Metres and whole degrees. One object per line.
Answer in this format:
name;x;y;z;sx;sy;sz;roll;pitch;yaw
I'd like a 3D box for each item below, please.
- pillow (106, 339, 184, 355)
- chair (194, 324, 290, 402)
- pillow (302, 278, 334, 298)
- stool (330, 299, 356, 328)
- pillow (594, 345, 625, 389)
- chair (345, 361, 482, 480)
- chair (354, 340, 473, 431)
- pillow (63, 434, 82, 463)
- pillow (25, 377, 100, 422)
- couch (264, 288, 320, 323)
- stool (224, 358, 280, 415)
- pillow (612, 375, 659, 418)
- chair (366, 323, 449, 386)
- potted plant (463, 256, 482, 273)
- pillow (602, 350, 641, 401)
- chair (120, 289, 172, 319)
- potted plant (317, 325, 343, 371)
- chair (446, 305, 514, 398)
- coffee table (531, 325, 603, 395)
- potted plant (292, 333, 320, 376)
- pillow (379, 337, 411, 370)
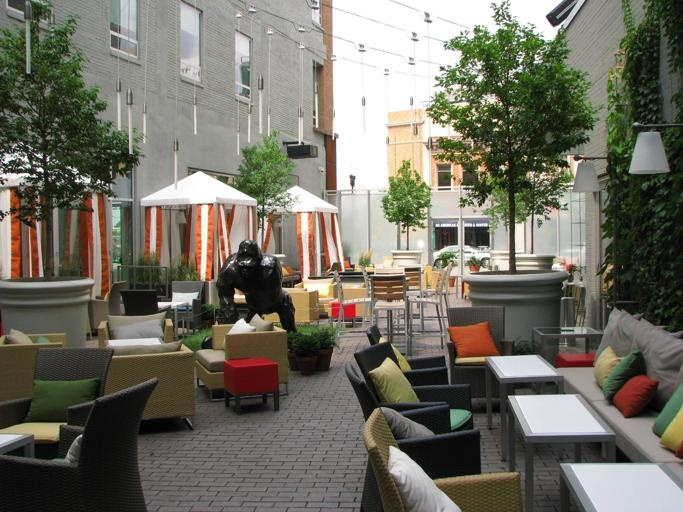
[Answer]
pillow;-2.412;1.094;7.003;0.450;0.123;0.458;2;0;-13
chair;-1.442;1.388;8.310;1.031;1.032;1.135;2;-5;-15
pillow;-0.559;0.954;14.894;0.718;0.567;0.408;-1;-7;9
stool;0.015;1.362;13.392;0.491;0.432;0.556;-1;-1;9
pillow;2.855;1.205;6.155;0.119;0.245;0.349;13;15;16
chair;0.554;1.306;4.613;0.818;1.093;0.719;-6;3;-9
chair;0.705;1.283;5.453;0.995;1.294;0.841;-6;0;16
pillow;-1.842;1.342;3.988;0.062;0.230;0.225;13;-12;-11
pillow;-2.592;1.354;5.386;0.511;0.377;0.200;-1;-40;6
couch;-1.135;1.132;13.151;0.999;1.180;0.780;0;3;14
stool;-1.201;1.632;7.678;0.635;0.744;0.645;-1;2;-17
pillow;2.777;1.316;5.497;0.258;0.313;0.527;-15;1;11
chair;0.763;1.126;6.455;0.675;0.995;0.649;-2;1;7
potted plant;5.431;0.394;24.074;0.619;0.726;0.669;-1;1;10
pillow;2.784;1.166;5.800;0.136;0.453;0.453;23;4;2
chair;-3.757;1.042;11.119;0.611;1.034;0.795;1;0;8
potted plant;-0.220;1.588;9.862;0.481;0.655;0.595;0;-3;2
chair;1.756;1.236;7.742;0.815;1.585;1.062;-1;-5;3
coffee table;2.889;1.384;7.474;0.724;0.815;0.741;-3;11;-8
potted plant;-0.581;1.629;9.428;0.515;0.630;0.560;-1;-5;8
pillow;0.552;1.105;6.245;0.099;0.373;0.354;-19;-10;4
